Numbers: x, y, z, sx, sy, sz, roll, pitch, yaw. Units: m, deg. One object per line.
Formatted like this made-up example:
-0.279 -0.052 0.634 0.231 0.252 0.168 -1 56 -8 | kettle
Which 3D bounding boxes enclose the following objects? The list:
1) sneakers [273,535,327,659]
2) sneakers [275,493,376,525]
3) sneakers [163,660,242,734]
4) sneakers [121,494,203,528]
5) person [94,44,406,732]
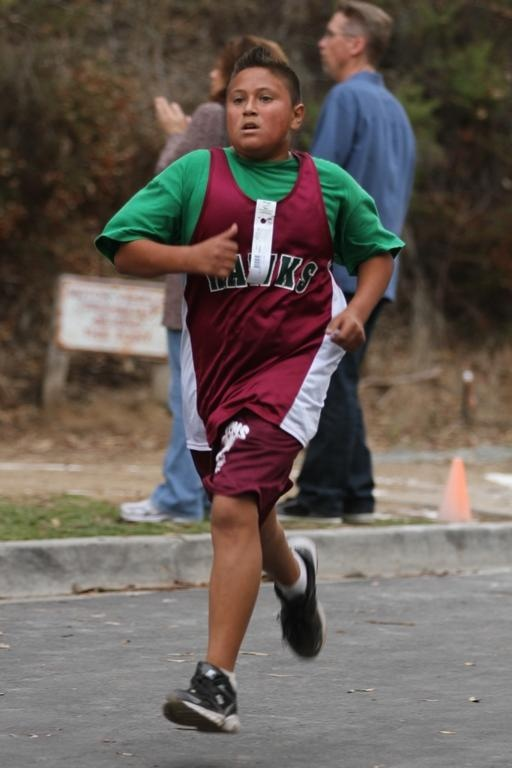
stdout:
0.174 0.599 3.018 0.133 0.334 0.164 -7 7 21 | sneakers
0.329 0.580 5.066 0.503 0.154 0.151 4 -2 -7 | sneakers
-0.103 0.653 2.260 0.098 0.124 0.211 -15 -33 33 | sneakers
-0.462 0.595 4.834 0.396 0.136 0.121 13 -20 -12 | sneakers
-0.065 -0.070 2.632 0.674 1.576 0.900 8 6 12 | person
